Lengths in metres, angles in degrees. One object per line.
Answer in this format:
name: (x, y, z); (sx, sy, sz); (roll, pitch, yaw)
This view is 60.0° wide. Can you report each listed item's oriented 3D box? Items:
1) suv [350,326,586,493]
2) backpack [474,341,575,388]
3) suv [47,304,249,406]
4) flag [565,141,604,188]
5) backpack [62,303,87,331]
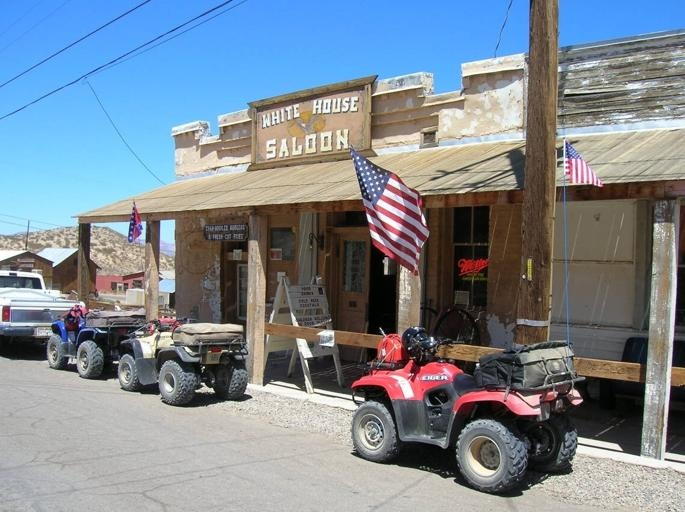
suv: (1.441, 1.699, 6.912); (2.401, 1.641, 1.032); (2, 2, 34)
backpack: (2.004, 1.174, 6.315); (0.738, 0.327, 0.576); (-4, -2, 0)
suv: (-3.544, 1.710, 10.501); (4.158, 1.329, 1.038); (2, 2, 35)
flag: (2.933, -1.116, 7.187); (0.431, 0.522, 0.241); (2, 2, 20)
backpack: (-5.185, 1.221, 11.639); (0.362, 0.670, 0.265); (19, 6, 27)
